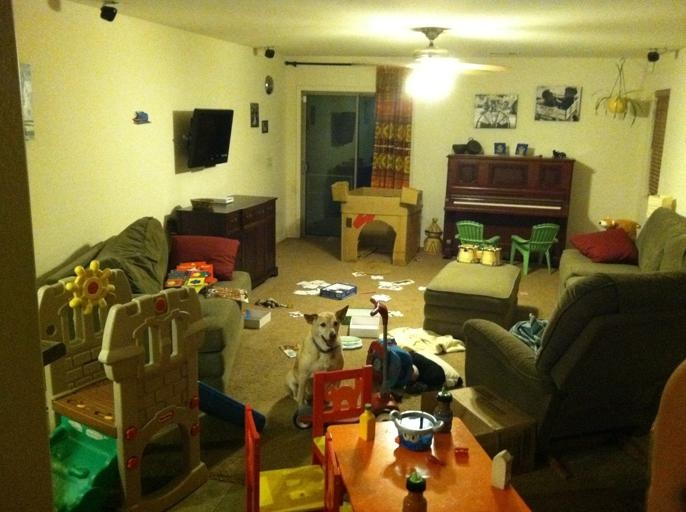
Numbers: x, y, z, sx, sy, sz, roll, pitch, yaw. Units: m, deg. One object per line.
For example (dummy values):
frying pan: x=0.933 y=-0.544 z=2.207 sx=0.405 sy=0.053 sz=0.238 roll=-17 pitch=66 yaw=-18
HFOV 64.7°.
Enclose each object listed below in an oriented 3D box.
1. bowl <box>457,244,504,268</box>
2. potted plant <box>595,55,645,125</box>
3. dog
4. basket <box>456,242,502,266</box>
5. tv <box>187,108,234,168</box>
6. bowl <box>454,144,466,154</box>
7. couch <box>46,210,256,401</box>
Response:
bowl: x=1.582 y=0.002 z=6.376 sx=0.276 sy=0.169 sz=0.392 roll=3 pitch=6 yaw=1
potted plant: x=4.149 y=-2.435 z=8.060 sx=0.835 sy=1.006 sz=0.794 roll=-8 pitch=12 yaw=-31
dog: x=-0.194 y=0.766 z=4.057 sx=0.452 sy=0.743 sz=0.757 roll=-1 pitch=-3 yaw=-25
basket: x=1.636 y=-0.023 z=6.402 sx=0.289 sy=0.135 sz=0.354 roll=7 pitch=12 yaw=26
tv: x=-1.588 y=-1.405 z=6.400 sx=0.106 sy=0.581 sz=0.799 roll=14 pitch=15 yaw=15
bowl: x=1.817 y=-1.648 z=8.413 sx=0.147 sy=0.105 sz=0.150 roll=0 pitch=8 yaw=0
couch: x=-1.481 y=0.246 z=4.445 sx=1.183 sy=1.035 sz=2.577 roll=7 pitch=16 yaw=-11
